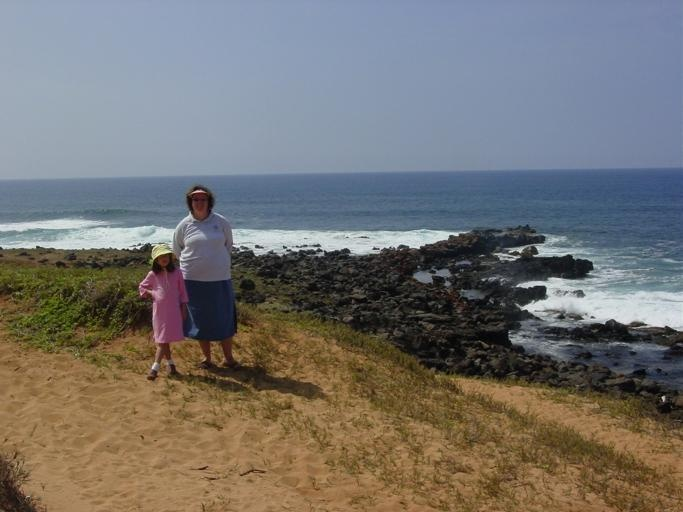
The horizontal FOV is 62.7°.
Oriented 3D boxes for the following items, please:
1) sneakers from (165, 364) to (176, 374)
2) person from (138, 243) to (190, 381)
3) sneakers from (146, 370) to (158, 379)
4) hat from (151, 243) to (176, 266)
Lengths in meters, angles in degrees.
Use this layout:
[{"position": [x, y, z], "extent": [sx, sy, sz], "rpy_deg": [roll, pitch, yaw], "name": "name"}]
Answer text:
[{"position": [-3.199, 2.122, 10.437], "extent": [0.158, 0.179, 0.196], "rpy_deg": [-4, -12, -21], "name": "sneakers"}, {"position": [-3.253, 0.987, 10.269], "extent": [0.812, 2.434, 0.720], "rpy_deg": [-2, 12, -18], "name": "person"}, {"position": [-3.419, 2.155, 10.132], "extent": [0.113, 0.184, 0.186], "rpy_deg": [-4, 33, 8], "name": "sneakers"}, {"position": [-3.215, -0.030, 10.117], "extent": [0.447, 0.213, 0.440], "rpy_deg": [-14, -1, -7], "name": "hat"}]
